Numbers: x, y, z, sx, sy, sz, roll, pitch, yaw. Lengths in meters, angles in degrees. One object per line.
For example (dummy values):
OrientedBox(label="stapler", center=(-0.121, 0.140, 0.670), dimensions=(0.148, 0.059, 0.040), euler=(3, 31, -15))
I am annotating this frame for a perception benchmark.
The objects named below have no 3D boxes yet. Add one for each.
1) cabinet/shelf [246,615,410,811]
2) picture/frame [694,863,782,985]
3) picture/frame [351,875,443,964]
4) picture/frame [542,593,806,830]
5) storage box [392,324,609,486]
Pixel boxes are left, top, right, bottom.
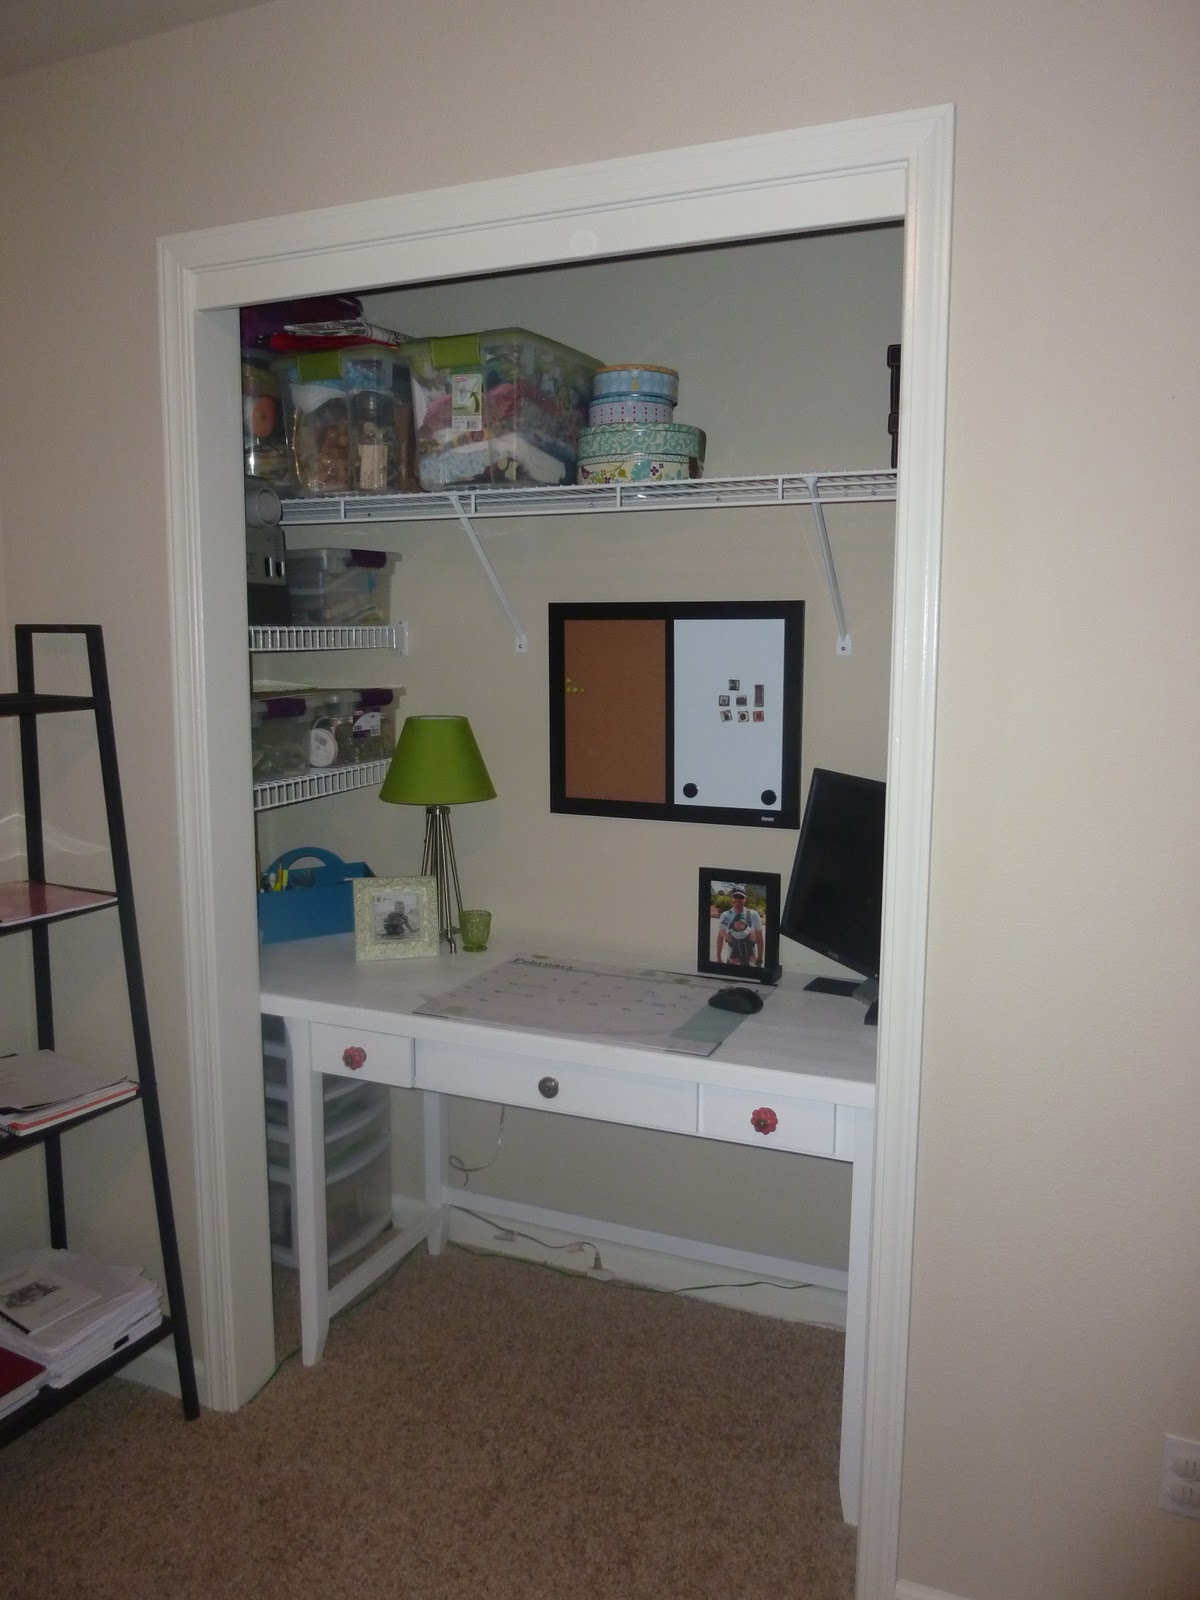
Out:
OrientedBox(label="cabinet/shelf", center=(-0.659, -0.186, 2.599), dimensions=(0.337, 0.336, 0.515), euler=(4, 10, 25))
OrientedBox(label="picture/frame", center=(0.259, 0.233, 2.343), dimensions=(0.176, 0.261, 0.010), euler=(4, 9, 33))
OrientedBox(label="picture/frame", center=(-0.389, 0.232, 2.450), dimensions=(0.133, 0.153, 0.010), euler=(-3, -1, -14))
OrientedBox(label="picture/frame", center=(0.163, -0.179, 2.447), dimensions=(0.390, 0.365, 0.020), euler=(7, 16, 28))
OrientedBox(label="storage box", center=(-0.188, -0.710, 2.376), dimensions=(0.279, 0.306, 0.287), euler=(10, 16, 34))
